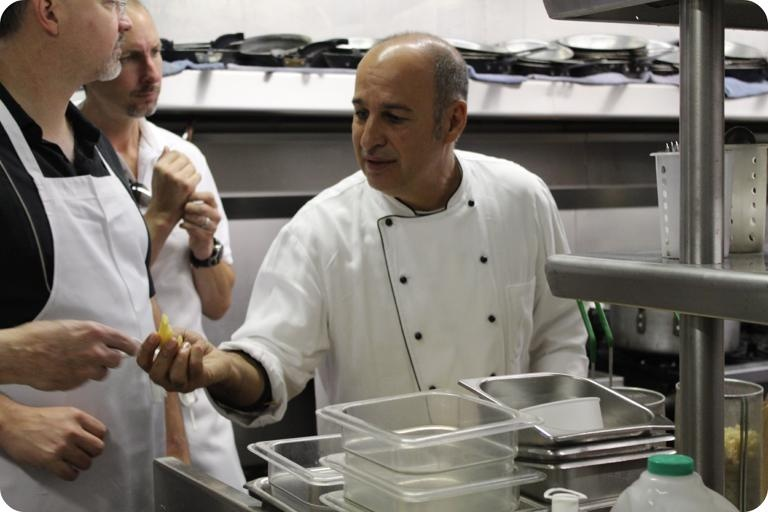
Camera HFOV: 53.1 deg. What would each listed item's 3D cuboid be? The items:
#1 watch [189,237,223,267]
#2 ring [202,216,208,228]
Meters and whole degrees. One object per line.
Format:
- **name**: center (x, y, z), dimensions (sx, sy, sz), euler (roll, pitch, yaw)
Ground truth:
- **watch**: center (-0.591, 0.005, 2.627), dimensions (0.088, 0.103, 0.046), euler (-6, -23, 3)
- **ring**: center (-0.576, -0.106, 2.462), dimensions (0.010, 0.026, 0.025), euler (7, 6, 27)
